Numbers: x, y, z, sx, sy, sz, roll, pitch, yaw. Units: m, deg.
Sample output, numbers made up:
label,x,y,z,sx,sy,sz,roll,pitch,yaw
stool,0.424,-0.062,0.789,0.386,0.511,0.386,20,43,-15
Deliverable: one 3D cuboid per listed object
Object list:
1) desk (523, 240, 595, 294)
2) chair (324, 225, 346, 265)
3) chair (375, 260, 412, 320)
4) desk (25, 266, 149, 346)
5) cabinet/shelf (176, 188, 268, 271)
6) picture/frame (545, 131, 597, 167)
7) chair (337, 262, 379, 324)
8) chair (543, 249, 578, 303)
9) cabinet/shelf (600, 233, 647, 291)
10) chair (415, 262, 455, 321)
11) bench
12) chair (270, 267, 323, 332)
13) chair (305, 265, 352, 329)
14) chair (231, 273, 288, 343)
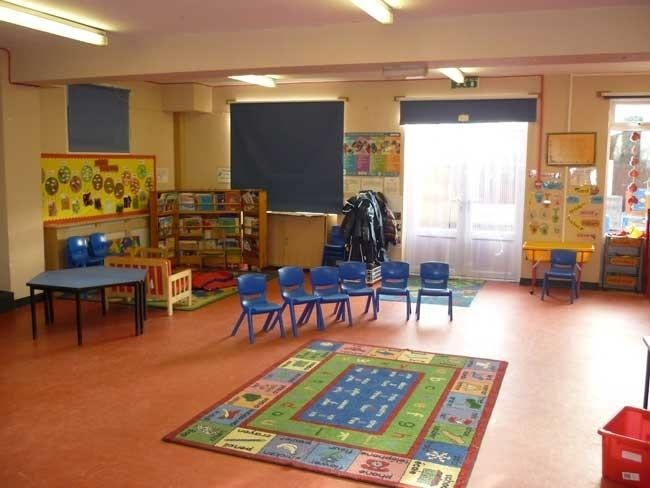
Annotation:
label,x,y,z,sx,sy,sz,roll,pitch,yaw
desk,4.351,0.447,9.258,1.170,0.831,0.748,2,12,22
chair,0.191,0.023,10.099,0.421,0.898,1.039,-2,11,-13
chair,1.073,0.722,7.699,0.707,0.808,0.715,4,7,37
desk,-3.291,0.827,6.925,1.497,0.805,1.237,-3,11,-18
cabinet/shelf,-2.240,-0.312,10.593,1.808,1.605,0.636,0,2,-2
picture/frame,4.616,-1.786,9.284,0.876,0.645,0.040,12,34,45
chair,0.482,0.713,7.583,0.579,0.799,0.634,-2,5,-28
chair,4.311,0.502,8.975,0.559,0.886,1.275,6,12,27
cabinet/shelf,5.580,0.368,9.204,0.702,1.024,0.270,1,11,4
chair,1.696,0.726,7.672,0.693,0.796,0.634,0,3,-13
bench,-2.902,0.632,8.057,1.175,0.804,0.649,3,5,18
chair,-0.376,0.793,7.154,0.634,0.834,0.684,-1,6,-21
chair,0.061,0.780,7.329,0.603,0.771,0.646,-6,10,-37
chair,-0.935,0.869,6.832,0.682,0.801,0.661,-1,6,-25
